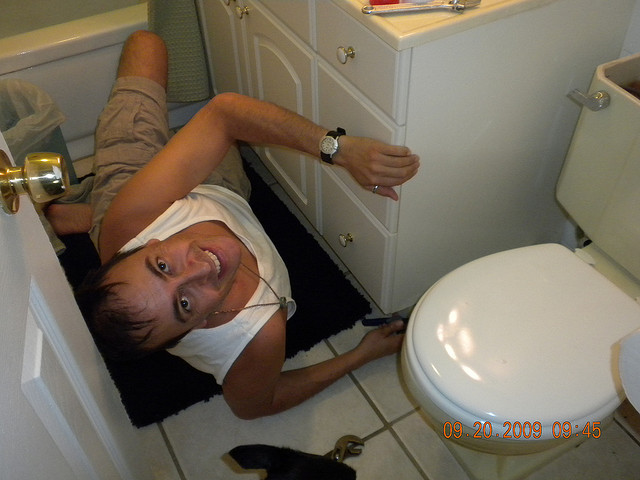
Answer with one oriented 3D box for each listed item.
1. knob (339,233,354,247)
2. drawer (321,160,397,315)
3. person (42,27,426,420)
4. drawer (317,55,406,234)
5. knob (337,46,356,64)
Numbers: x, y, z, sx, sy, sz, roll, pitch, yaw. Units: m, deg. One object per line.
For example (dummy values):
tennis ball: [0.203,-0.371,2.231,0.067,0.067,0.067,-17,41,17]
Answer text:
knob: [0.083,0.000,1.624,0.032,0.041,0.045,-10,39,-22]
drawer: [0.107,-0.084,1.652,0.281,0.279,0.224,14,56,13]
person: [-0.226,0.021,1.709,0.628,0.984,1.223,26,25,4]
drawer: [0.110,-0.254,1.289,0.169,0.239,0.358,-14,53,-29]
knob: [0.060,-0.446,1.223,0.037,0.037,0.038,-20,43,-31]
